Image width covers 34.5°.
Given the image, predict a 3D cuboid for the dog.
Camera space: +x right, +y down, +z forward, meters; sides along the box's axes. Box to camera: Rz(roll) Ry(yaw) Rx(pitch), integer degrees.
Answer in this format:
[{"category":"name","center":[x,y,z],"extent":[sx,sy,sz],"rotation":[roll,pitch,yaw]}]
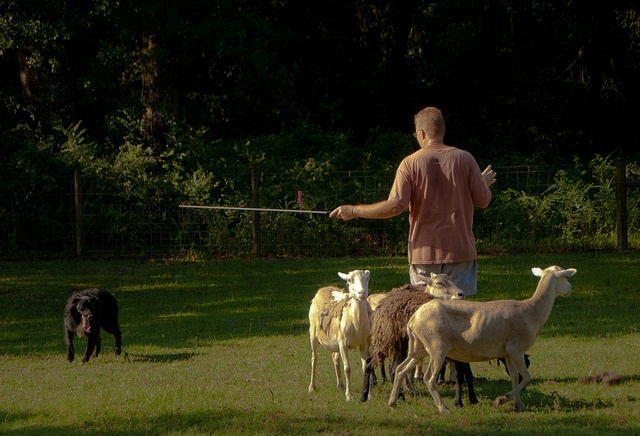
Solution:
[{"category":"dog","center":[-5.708,2.670,25.774],"extent":[1.398,1.762,0.863],"rotation":[-1,-1,-17]}]
